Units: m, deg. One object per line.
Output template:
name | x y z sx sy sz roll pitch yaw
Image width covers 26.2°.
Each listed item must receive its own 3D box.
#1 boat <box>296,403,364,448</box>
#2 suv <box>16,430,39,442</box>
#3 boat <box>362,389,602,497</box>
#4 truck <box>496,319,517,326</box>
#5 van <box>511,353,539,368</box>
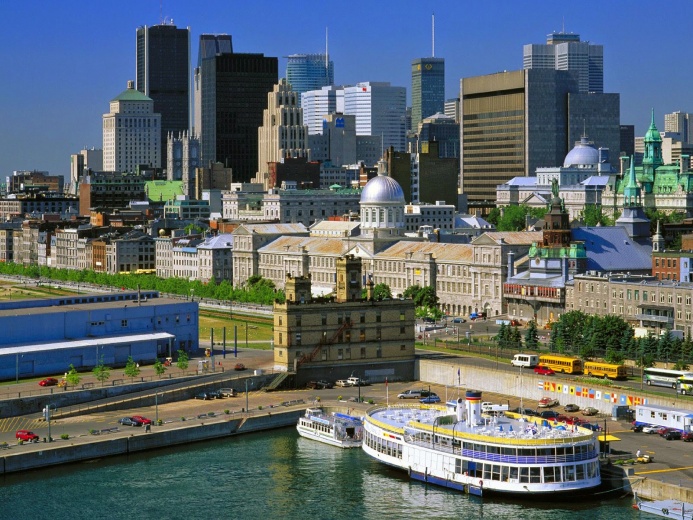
boat | -1.348 17.496 153.778 6.761 3.191 3.734 2 5 39
suv | -32.099 17.796 149.728 1.969 0.893 1.141 1 4 9
boat | 12.373 17.155 144.089 13.068 8.124 25.495 -6 7 -44
truck | 21.853 8.965 206.757 1.947 0.516 1.278 -1 4 -32
van | 20.487 11.744 172.174 2.300 1.247 1.538 2 -1 23
